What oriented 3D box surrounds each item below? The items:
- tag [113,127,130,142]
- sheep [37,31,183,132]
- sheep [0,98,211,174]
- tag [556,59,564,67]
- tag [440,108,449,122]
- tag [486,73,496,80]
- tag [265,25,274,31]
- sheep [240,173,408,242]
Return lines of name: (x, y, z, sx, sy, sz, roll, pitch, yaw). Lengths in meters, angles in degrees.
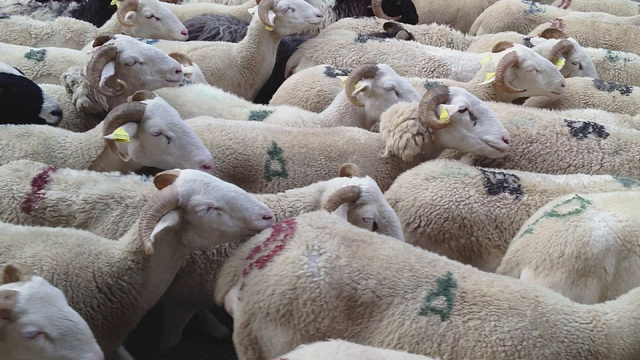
tag: (-1.776, -0.403, 7.453, 0.148, 0.066, 0.100, 15, 91, -26)
sheep: (-1.993, -0.982, 8.352, 1.487, 0.677, 0.793, -8, 41, 11)
sheep: (-1.926, -0.393, 7.786, 1.725, 0.705, 0.759, 4, 39, 8)
tag: (2.689, -1.313, 9.283, 0.073, 0.033, 0.083, 9, 87, 3)
tag: (1.181, -0.621, 7.907, 0.090, 0.025, 0.104, 3, 78, 14)
tag: (1.807, -1.106, 8.813, 0.076, 0.070, 0.066, 17, 52, 10)
tag: (-0.582, -1.731, 9.432, 0.036, 0.055, 0.050, 15, 60, -27)
sheep: (0.042, 0.131, 7.448, 1.395, 0.624, 0.578, 5, 40, 8)
